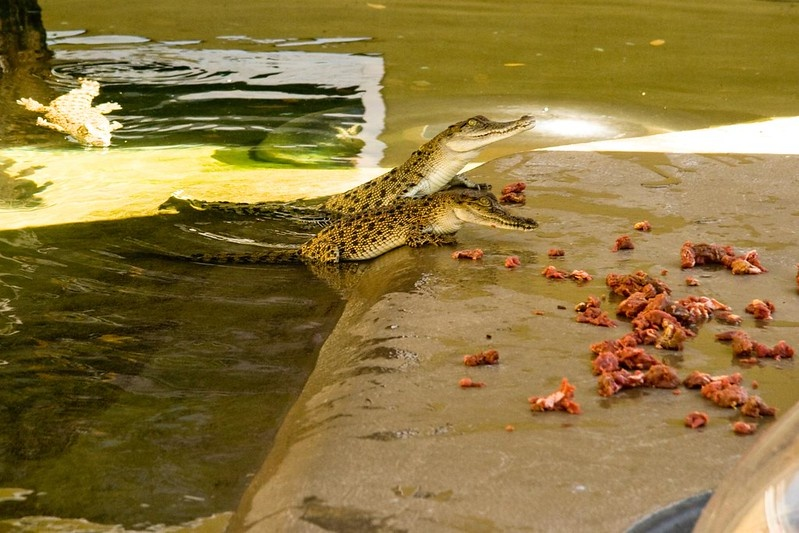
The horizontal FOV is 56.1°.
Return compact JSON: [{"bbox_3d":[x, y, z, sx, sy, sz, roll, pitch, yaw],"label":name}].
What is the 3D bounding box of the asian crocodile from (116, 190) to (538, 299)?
[{"bbox_3d":[-0.495,-0.283,6.407,3.721,0.383,1.065,-3,6,19],"label":"asian crocodile"}]
